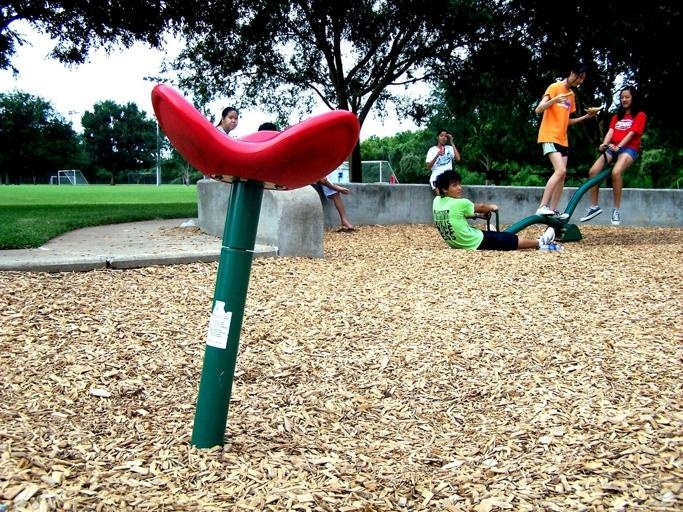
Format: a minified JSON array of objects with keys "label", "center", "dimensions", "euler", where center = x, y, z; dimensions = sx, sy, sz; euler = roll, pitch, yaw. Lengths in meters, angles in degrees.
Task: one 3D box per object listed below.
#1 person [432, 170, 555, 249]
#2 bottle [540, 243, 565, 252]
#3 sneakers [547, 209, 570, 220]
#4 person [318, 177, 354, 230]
[{"label":"person","center":[1.804,-0.558,6.942],"dimensions":[1.310,0.969,0.628],"euler":[3,5,6]},{"label":"bottle","center":[2.583,-0.103,6.981],"dimensions":[0.307,0.110,0.111],"euler":[0,3,3]},{"label":"sneakers","center":[2.972,-0.552,7.694],"dimensions":[0.386,0.143,0.127],"euler":[0,21,-16]},{"label":"person","center":[-0.074,-0.827,9.548],"dimensions":[0.629,0.823,1.111],"euler":[2,5,3]}]
